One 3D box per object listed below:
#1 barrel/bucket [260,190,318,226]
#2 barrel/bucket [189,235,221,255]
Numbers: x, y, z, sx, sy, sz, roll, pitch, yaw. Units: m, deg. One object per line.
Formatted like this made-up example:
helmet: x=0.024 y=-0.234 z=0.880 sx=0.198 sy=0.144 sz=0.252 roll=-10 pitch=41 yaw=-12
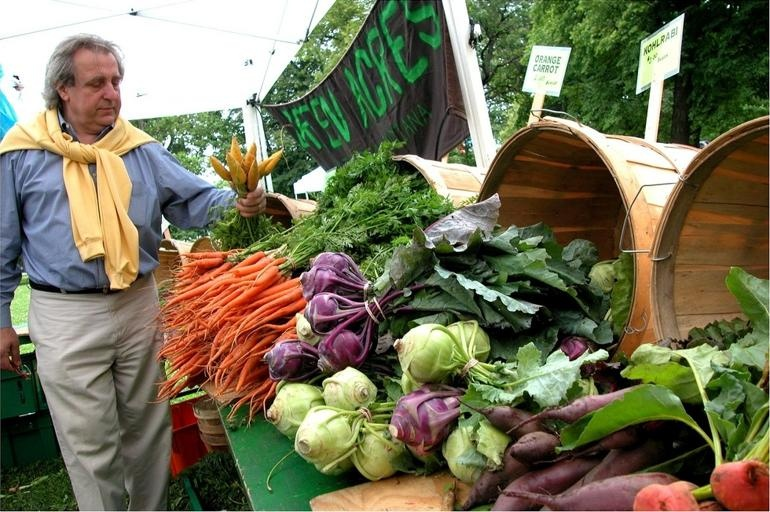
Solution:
barrel/bucket: x=-0.768 y=-0.374 z=3.994 sx=0.419 sy=0.278 sz=1.039 roll=-4 pitch=5 yaw=-13
barrel/bucket: x=-1.524 y=-0.085 z=4.148 sx=0.221 sy=0.221 sz=0.089 roll=6 pitch=16 yaw=28
